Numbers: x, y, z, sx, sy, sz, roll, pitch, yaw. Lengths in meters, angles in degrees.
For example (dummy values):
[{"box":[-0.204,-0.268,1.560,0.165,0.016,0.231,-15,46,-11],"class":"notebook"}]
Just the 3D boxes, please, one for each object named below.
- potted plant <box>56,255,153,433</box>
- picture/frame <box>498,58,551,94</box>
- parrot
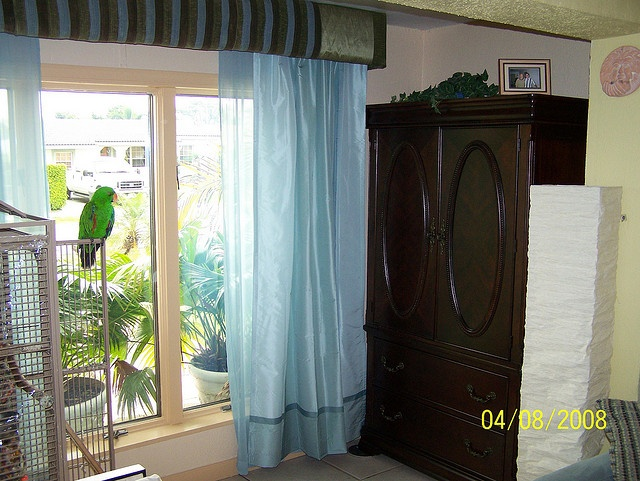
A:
[{"box":[-1.180,0.601,2.868,0.493,1.098,0.327,-2,11,-27],"class":"potted plant"},{"box":[1.228,-0.961,2.953,0.302,0.251,0.016,2,-11,7],"class":"picture/frame"},{"box":[-1.139,-0.071,2.567,0.184,0.458,0.178,-7,19,-39],"class":"parrot"}]
